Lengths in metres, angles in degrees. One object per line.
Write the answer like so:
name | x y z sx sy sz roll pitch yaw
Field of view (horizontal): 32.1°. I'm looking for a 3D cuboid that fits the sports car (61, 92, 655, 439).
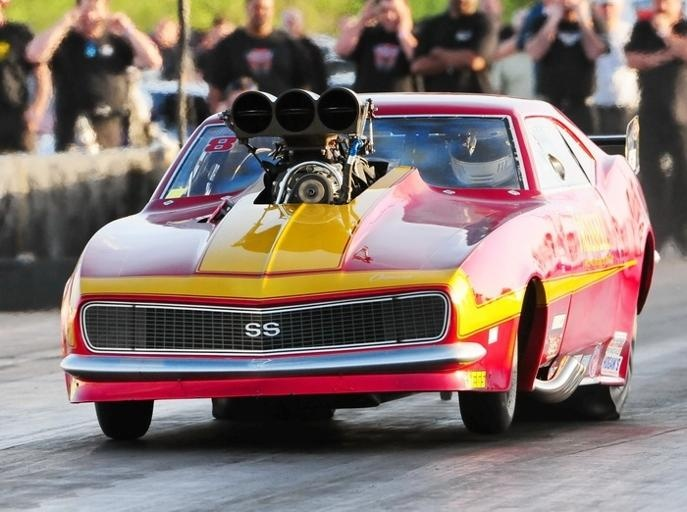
sports car | 0.364 -0.006 6.981 1.956 0.950 3.056 -2 -3 16
